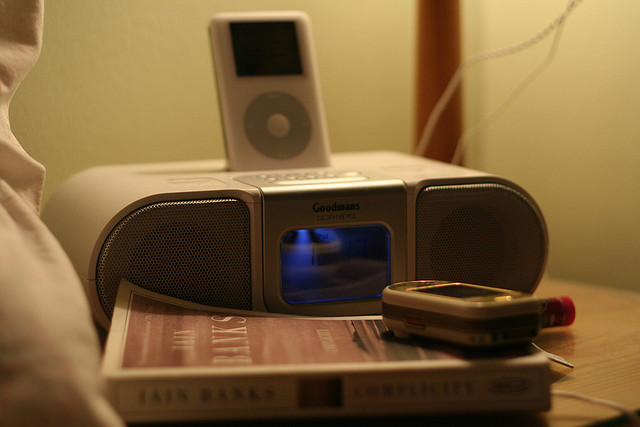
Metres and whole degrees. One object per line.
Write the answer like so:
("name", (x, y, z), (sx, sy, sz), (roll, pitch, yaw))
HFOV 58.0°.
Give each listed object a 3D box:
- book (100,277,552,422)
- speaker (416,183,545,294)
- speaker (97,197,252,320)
("book", (-0.003, 0.149, 0.682), (0.494, 0.093, 0.190), (-1, 18, -3))
("speaker", (0.223, 0.027, 0.856), (0.205, 0.156, 0.075), (1, 9, -20))
("speaker", (-0.176, 0.040, 0.760), (0.272, 0.188, 0.141), (-1, 5, -16))
